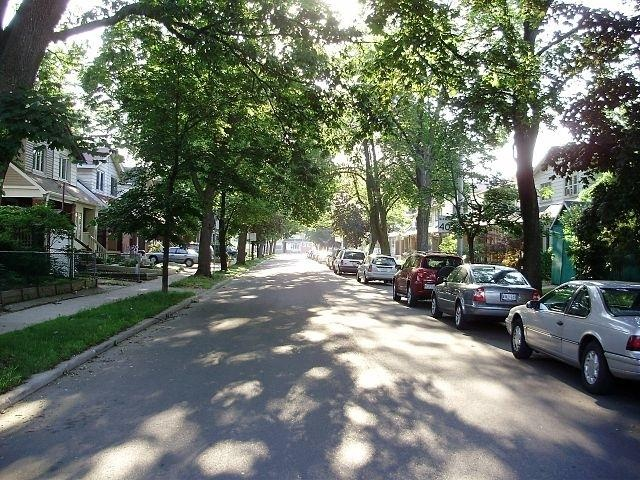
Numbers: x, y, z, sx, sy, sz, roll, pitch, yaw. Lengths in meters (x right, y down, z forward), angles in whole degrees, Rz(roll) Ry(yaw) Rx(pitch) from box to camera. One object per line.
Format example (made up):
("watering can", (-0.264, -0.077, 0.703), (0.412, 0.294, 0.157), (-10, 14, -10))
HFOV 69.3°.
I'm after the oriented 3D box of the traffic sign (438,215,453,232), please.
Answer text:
("traffic sign", (6.179, -0.779, 22.827), (0.793, 0.888, 0.114), (0, -10, 13))
